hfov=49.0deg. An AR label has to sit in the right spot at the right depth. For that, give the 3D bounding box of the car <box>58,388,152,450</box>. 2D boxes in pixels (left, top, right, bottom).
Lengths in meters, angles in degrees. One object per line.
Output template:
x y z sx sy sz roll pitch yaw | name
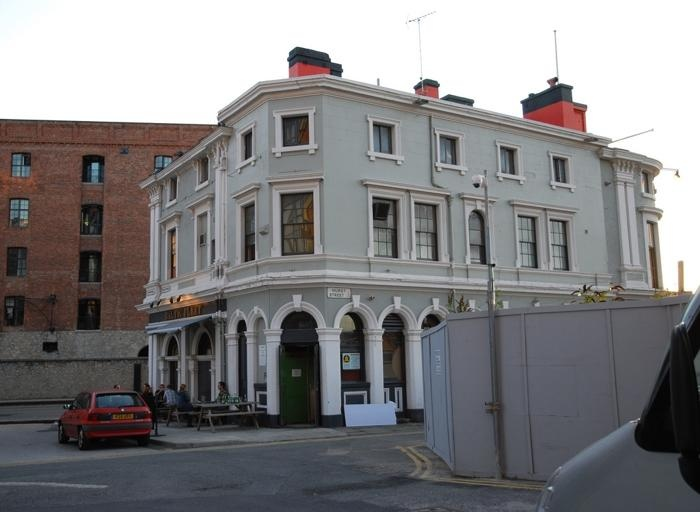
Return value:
-7.721 4.930 23.731 1.615 1.073 2.630 3 -5 -31 | car
